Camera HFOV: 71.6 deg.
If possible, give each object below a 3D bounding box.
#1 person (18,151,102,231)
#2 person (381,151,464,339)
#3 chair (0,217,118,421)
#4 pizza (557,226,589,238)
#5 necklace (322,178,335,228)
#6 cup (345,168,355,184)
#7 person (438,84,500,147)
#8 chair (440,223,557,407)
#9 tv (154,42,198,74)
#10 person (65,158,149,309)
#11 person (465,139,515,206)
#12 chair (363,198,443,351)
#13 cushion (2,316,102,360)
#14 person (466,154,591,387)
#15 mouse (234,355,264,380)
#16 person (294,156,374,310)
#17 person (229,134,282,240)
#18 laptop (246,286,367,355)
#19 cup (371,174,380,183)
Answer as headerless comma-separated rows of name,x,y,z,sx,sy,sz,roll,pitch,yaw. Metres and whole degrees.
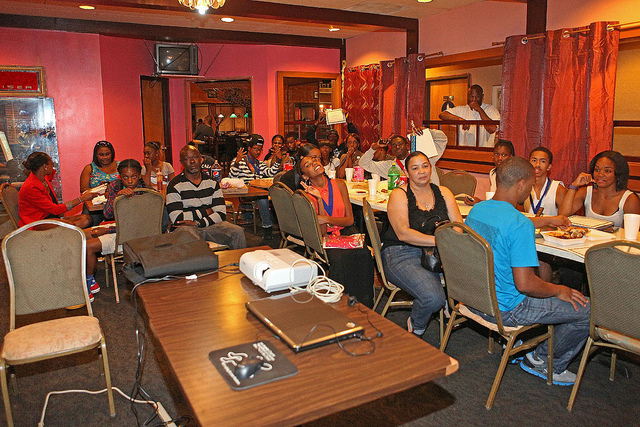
person,-3.268,-0.309,5.519,0.897,1.280,0.547,-17,45,-37
person,0.863,0.308,3.832,0.662,1.630,0.763,2,16,19
chair,-2.080,0.716,3.328,0.734,1.375,1.242,-11,17,-27
pizza,1.965,0.132,3.481,0.116,0.027,0.158,-2,11,-15
necklace,0.096,-0.140,4.517,0.126,0.383,0.026,-11,-6,-4
cup,0.398,-0.510,6.015,0.184,0.237,0.200,0,9,0
person,2.458,-1.559,7.132,0.530,0.957,0.883,-14,18,-36
chair,1.363,0.663,3.327,0.849,1.232,0.829,-2,7,0
tv,-2.756,-3.063,8.860,0.953,0.618,0.531,5,16,10
person,-2.324,0.159,4.833,0.864,1.376,1.424,-7,15,-16
person,1.950,-0.442,4.935,0.569,0.750,0.476,6,6,22
chair,0.750,0.503,4.057,0.905,1.223,0.918,-4,6,-28
cushion,-1.874,0.886,3.119,0.494,0.108,0.447,-3,8,-30
person,1.611,0.497,3.323,1.013,1.740,0.789,-4,12,-8
mouse,-0.345,0.727,2.114,0.071,0.043,0.127,18,29,31
person,0.149,0.126,4.507,0.592,1.382,1.196,-4,15,-5
person,-1.044,-0.455,7.077,0.950,1.628,0.782,10,16,38
laptop,-0.124,0.573,2.466,0.397,0.059,0.520,-10,23,-33
cup,0.660,-0.417,5.261,0.120,0.106,0.111,-2,0,0
